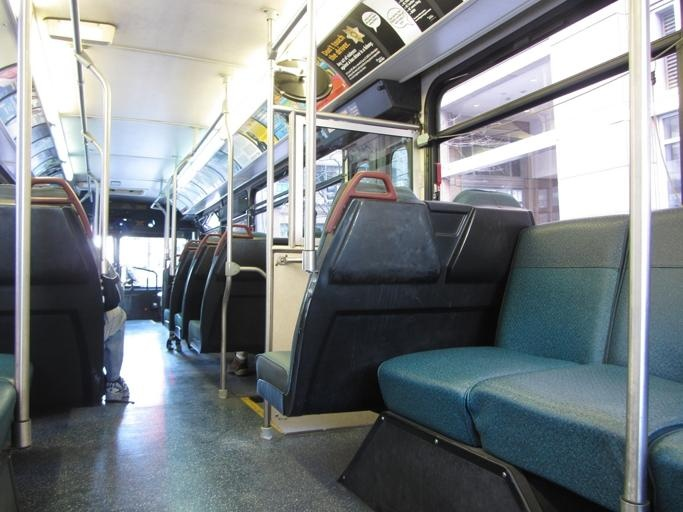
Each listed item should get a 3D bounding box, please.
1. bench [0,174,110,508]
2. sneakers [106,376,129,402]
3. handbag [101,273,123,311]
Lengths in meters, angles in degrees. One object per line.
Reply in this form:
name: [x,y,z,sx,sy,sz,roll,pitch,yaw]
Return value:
bench: [-1.632,0.400,2.825,0.544,1.699,1.439,0,-1,-25]
sneakers: [-1.931,1.179,4.429,0.104,0.184,0.292,1,-1,12]
handbag: [-1.559,0.248,3.483,0.122,0.220,0.153,-7,2,-34]
